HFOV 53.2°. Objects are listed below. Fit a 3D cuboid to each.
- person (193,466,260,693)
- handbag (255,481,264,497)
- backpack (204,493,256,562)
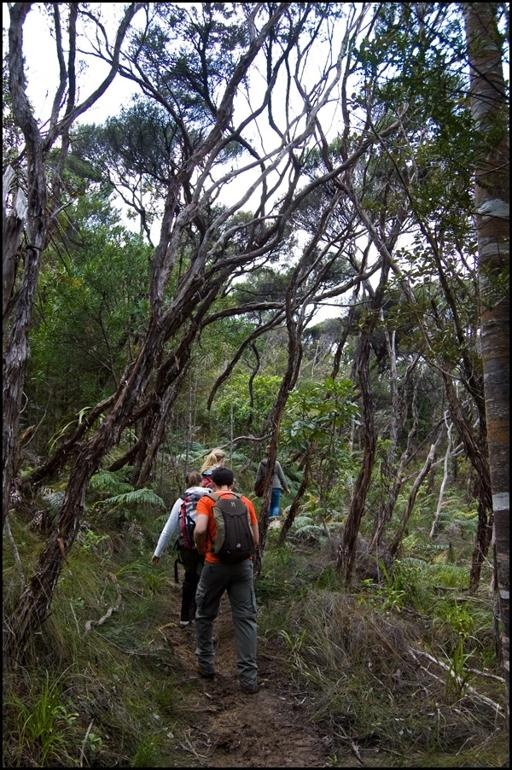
[{"bbox_3d":[-0.246,1.364,3.761,0.586,1.521,0.588,-11,-19,30],"label":"person"},{"bbox_3d":[0.018,1.348,6.658,0.137,0.199,0.079,-7,-17,22],"label":"handbag"},{"bbox_3d":[-0.207,1.000,3.576,0.322,0.516,0.286,13,-36,-34],"label":"backpack"}]
